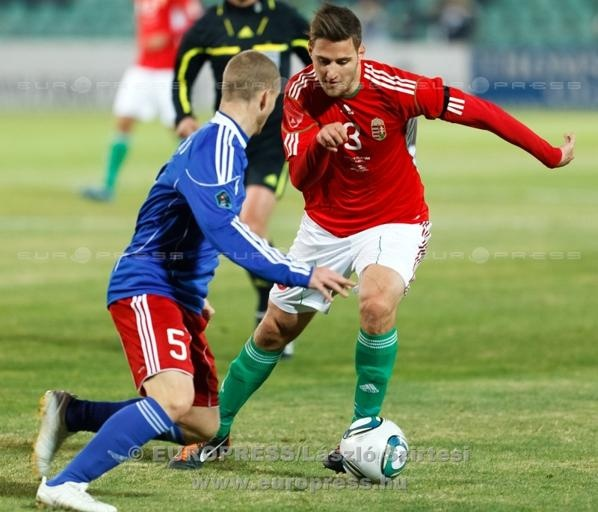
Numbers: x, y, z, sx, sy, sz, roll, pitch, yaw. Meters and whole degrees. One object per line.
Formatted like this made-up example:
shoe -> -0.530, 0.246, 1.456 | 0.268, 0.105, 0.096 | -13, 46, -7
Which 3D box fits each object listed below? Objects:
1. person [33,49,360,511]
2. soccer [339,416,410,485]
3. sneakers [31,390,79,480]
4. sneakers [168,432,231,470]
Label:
person -> -0.613, 0.091, 5.339 | 1.302, 1.976, 0.739 | -5, 17, -17
soccer -> 0.375, 0.924, 5.555 | 0.271, 0.246, 0.337 | -2, 5, 25
sneakers -> -1.156, 0.829, 5.418 | 0.197, 0.385, 0.155 | -1, -20, 42
sneakers -> -0.490, 0.979, 5.822 | 0.347, 0.124, 0.113 | -4, 3, -39
